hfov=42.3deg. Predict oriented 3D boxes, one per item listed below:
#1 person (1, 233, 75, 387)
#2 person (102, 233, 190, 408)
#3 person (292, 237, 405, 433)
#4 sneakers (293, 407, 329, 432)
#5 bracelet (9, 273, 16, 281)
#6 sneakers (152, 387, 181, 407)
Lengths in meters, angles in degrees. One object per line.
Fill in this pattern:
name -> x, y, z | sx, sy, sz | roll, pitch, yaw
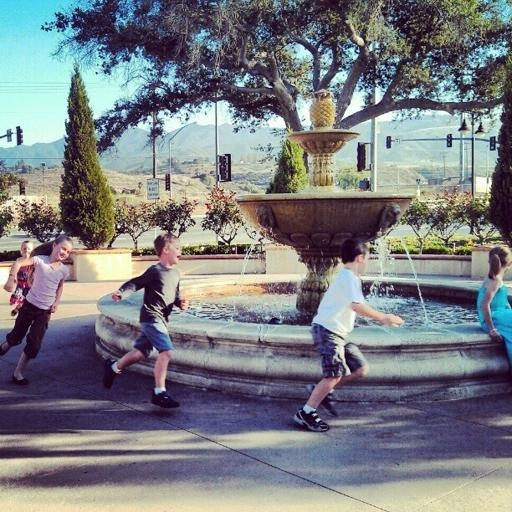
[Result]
person -> -2.209, 0.533, 6.612 | 0.785, 1.513, 0.695 | -4, 11, -15
person -> -0.946, 0.572, 5.689 | 0.732, 1.499, 0.664 | -3, 11, -12
person -> 0.669, 0.618, 5.270 | 0.737, 1.486, 0.682 | 0, 11, 3
sneakers -> 0.422, 1.315, 5.187 | 0.313, 0.138, 0.123 | 22, 25, 17
bracelet -> -2.360, 0.198, 6.397 | 0.068, 0.041, 0.061 | 2, -1, -18
sneakers -> -0.775, 1.206, 5.631 | 0.315, 0.122, 0.115 | 1, 1, 33
